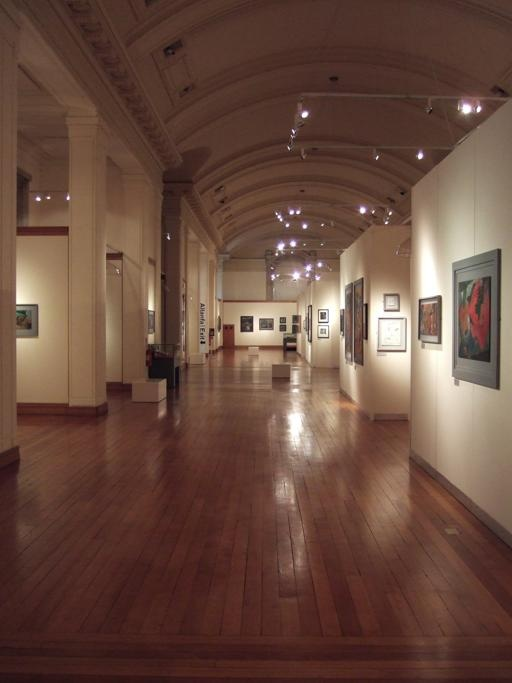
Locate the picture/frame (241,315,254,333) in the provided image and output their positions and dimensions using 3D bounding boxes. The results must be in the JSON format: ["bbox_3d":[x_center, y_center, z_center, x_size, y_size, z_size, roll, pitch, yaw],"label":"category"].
[{"bbox_3d":[-0.715,-1.504,40.290,0.878,1.795,0.058,1,-2,-2],"label":"picture/frame"}]

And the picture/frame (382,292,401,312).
[{"bbox_3d":[2.563,-0.740,9.042,0.207,0.392,0.023,0,-3,-6],"label":"picture/frame"}]

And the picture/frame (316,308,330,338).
[{"bbox_3d":[2.904,-0.778,20.625,0.551,1.334,0.477,1,1,8],"label":"picture/frame"}]

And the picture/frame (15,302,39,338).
[{"bbox_3d":[-4.287,-0.408,8.946,0.410,0.776,0.045,0,2,-3],"label":"picture/frame"}]

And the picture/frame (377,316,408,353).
[{"bbox_3d":[2.555,-0.106,9.000,0.397,0.761,0.058,0,-1,-9],"label":"picture/frame"}]

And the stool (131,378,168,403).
[{"bbox_3d":[-2.476,1.145,11.097,0.787,0.467,0.861,1,2,-18],"label":"stool"}]
